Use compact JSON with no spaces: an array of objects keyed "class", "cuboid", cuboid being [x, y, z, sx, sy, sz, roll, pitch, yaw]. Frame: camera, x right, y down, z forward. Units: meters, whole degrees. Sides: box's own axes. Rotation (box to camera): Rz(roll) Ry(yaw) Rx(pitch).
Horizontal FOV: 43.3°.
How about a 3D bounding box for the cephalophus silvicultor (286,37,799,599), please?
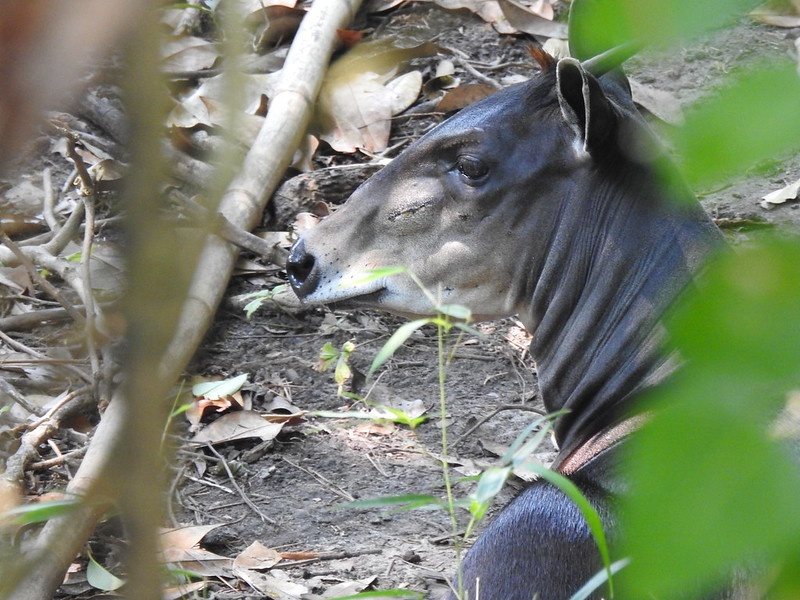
[{"class":"cephalophus silvicultor","cuboid":[0.349,-0.083,2.700,0.747,1.163,1.132,-21,40,-29]}]
